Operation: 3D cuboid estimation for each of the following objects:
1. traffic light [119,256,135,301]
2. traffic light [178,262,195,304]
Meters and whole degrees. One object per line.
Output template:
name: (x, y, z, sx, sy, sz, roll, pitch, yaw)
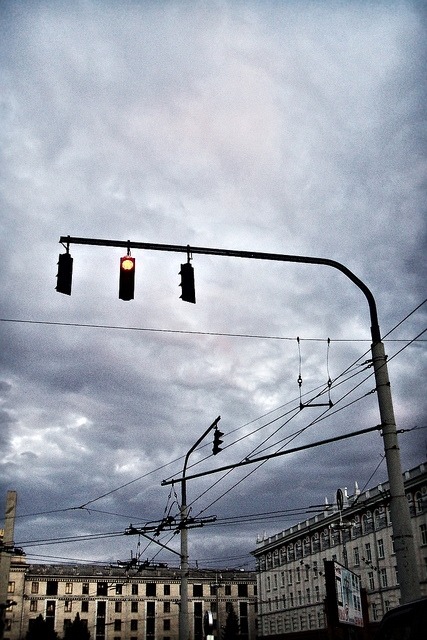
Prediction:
traffic light: (-1.458, -0.755, 10.799, 0.219, 1.002, 0.446, 0, -26, -4)
traffic light: (-0.453, -0.646, 10.740, 0.220, 0.951, 0.415, 1, -26, -6)
